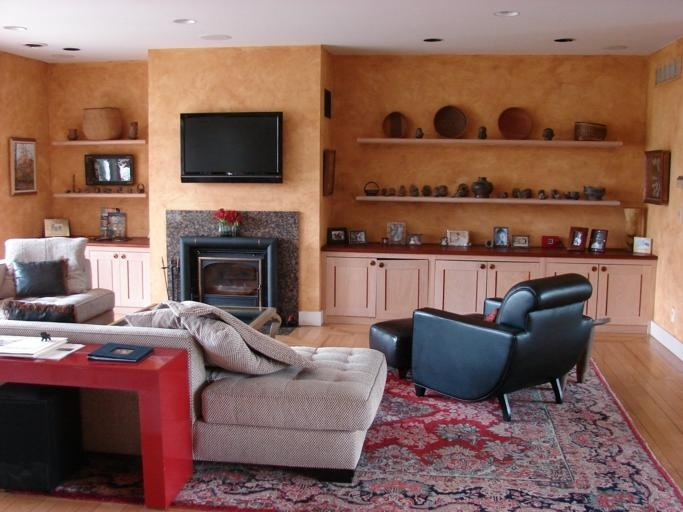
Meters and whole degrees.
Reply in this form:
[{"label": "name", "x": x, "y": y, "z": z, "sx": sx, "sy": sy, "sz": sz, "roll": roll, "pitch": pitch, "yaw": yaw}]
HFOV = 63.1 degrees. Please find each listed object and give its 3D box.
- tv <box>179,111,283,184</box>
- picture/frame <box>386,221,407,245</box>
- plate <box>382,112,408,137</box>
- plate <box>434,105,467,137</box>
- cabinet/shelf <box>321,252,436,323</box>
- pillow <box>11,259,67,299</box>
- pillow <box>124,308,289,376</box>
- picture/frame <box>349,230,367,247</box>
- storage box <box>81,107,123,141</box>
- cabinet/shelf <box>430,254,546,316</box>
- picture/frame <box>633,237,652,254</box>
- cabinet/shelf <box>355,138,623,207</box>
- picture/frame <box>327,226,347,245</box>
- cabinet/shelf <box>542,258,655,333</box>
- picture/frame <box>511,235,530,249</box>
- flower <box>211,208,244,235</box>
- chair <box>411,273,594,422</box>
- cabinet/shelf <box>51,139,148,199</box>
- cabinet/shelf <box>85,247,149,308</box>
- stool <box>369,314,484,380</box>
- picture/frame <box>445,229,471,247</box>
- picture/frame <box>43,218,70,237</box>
[{"label": "tv", "x": -1.246, "y": -1.214, "z": 6.288, "sx": 1.454, "sy": 0.797, "sz": 0.125, "roll": 6, "pitch": 9, "yaw": 26}, {"label": "picture/frame", "x": 0.671, "y": -0.263, "z": 6.809, "sx": 0.386, "sy": 0.335, "sz": 0.052, "roll": 0, "pitch": -1, "yaw": 2}, {"label": "plate", "x": 0.641, "y": -1.577, "z": 6.671, "sx": 0.297, "sy": 0.301, "sz": 0.108, "roll": 2, "pitch": 13, "yaw": 5}, {"label": "plate", "x": 1.296, "y": -1.592, "z": 6.599, "sx": 0.407, "sy": 0.376, "sz": 0.125, "roll": 2, "pitch": 13, "yaw": 6}, {"label": "cabinet/shelf", "x": 0.449, "y": 0.330, "z": 6.267, "sx": 1.057, "sy": 0.516, "sz": 0.332, "roll": 1, "pitch": 2, "yaw": 6}, {"label": "pillow", "x": -3.016, "y": 0.233, "z": 5.570, "sx": 0.578, "sy": 0.154, "sz": 0.542, "roll": 0, "pitch": 38, "yaw": -28}, {"label": "pillow", "x": -0.817, "y": 0.642, "z": 3.384, "sx": 0.645, "sy": 0.161, "sz": 0.589, "roll": 13, "pitch": -8, "yaw": 33}, {"label": "picture/frame", "x": 0.184, "y": -0.204, "z": 6.761, "sx": 0.254, "sy": 0.172, "sz": 0.077, "roll": 0, "pitch": 7, "yaw": -4}, {"label": "storage box", "x": -3.026, "y": -1.650, "z": 6.985, "sx": 0.438, "sy": 0.395, "sz": 0.158, "roll": -3, "pitch": 13, "yaw": -17}, {"label": "cabinet/shelf", "x": 1.576, "y": 0.517, "z": 6.498, "sx": 1.379, "sy": 0.961, "sz": 0.466, "roll": 2, "pitch": 3, "yaw": -12}, {"label": "picture/frame", "x": 3.408, "y": -0.106, "z": 6.275, "sx": 0.031, "sy": 0.171, "sz": 0.225, "roll": -7, "pitch": 9, "yaw": -45}, {"label": "cabinet/shelf", "x": 1.807, "y": -0.973, "z": 6.501, "sx": 2.985, "sy": 0.776, "sz": 0.431, "roll": 2, "pitch": 13, "yaw": 6}, {"label": "picture/frame", "x": -0.044, "y": -0.240, "z": 6.721, "sx": 0.268, "sy": 0.191, "sz": 0.148, "roll": -2, "pitch": 13, "yaw": -13}, {"label": "cabinet/shelf", "x": 2.511, "y": 0.343, "z": 5.356, "sx": 1.055, "sy": 0.601, "sz": 0.337, "roll": 1, "pitch": 3, "yaw": 6}, {"label": "picture/frame", "x": 2.135, "y": -0.165, "z": 6.652, "sx": 0.281, "sy": 0.156, "sz": 0.134, "roll": 0, "pitch": 3, "yaw": 6}, {"label": "flower", "x": -1.278, "y": -0.379, "z": 6.314, "sx": 0.369, "sy": 0.281, "sz": 0.314, "roll": -1, "pitch": 4, "yaw": -4}, {"label": "chair", "x": 1.282, "y": 0.662, "z": 4.425, "sx": 1.100, "sy": 0.815, "sz": 1.097, "roll": -3, "pitch": 2, "yaw": -41}, {"label": "cabinet/shelf", "x": -3.149, "y": -1.098, "z": 7.339, "sx": 1.297, "sy": 0.635, "sz": 0.400, "roll": -7, "pitch": 4, "yaw": -40}, {"label": "cabinet/shelf", "x": -2.895, "y": 0.290, "z": 6.917, "sx": 0.406, "sy": 0.736, "sz": 0.945, "roll": -8, "pitch": -7, "yaw": 28}, {"label": "stool", "x": 0.561, "y": 0.759, "z": 5.126, "sx": 1.154, "sy": 0.422, "sz": 0.645, "roll": -1, "pitch": 9, "yaw": 0}, {"label": "picture/frame", "x": 1.396, "y": -0.211, "z": 6.691, "sx": 0.275, "sy": 0.173, "sz": 0.229, "roll": 2, "pitch": 12, "yaw": 8}, {"label": "picture/frame", "x": -3.757, "y": -0.362, "z": 7.255, "sx": 0.335, "sy": 0.204, "sz": 0.032, "roll": -3, "pitch": -1, "yaw": -40}]
